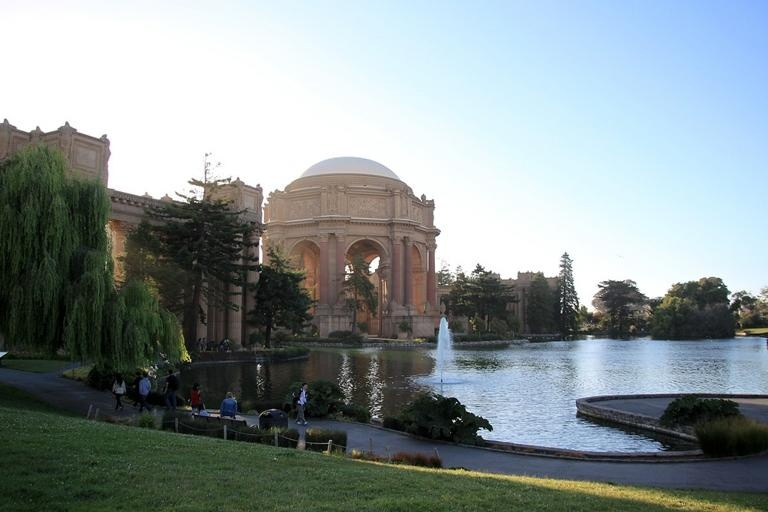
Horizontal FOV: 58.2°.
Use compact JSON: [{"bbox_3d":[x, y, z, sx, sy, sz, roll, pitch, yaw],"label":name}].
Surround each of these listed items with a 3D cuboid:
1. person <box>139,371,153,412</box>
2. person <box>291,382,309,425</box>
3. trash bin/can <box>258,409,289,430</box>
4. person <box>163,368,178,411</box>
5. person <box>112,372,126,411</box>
[{"bbox_3d":[-9.513,5.304,27.318,0.451,0.987,1.364,4,-3,-20],"label":"person"},{"bbox_3d":[-3.157,5.533,26.315,0.556,1.342,1.505,3,-3,-7],"label":"person"},{"bbox_3d":[-3.844,5.609,23.873,0.793,0.655,0.677,1,-12,-8],"label":"trash bin/can"},{"bbox_3d":[-8.281,5.137,26.938,0.402,1.047,0.703,4,-3,-24],"label":"person"},{"bbox_3d":[-10.371,5.200,26.921,0.399,0.991,1.019,4,-3,-25],"label":"person"}]
